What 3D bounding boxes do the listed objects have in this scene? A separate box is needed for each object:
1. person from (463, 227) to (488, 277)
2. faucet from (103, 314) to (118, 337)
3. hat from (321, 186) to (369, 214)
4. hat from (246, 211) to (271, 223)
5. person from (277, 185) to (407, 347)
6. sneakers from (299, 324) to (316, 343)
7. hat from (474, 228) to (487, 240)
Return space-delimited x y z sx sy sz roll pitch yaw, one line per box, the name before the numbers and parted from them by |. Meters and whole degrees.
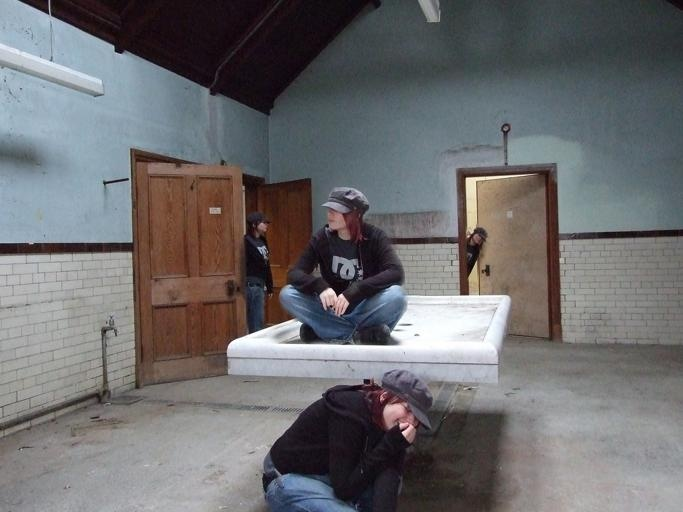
person | 2.064 -0.101 7.837 0.305 0.670 0.787 1 7 18
faucet | -2.380 0.730 5.360 0.090 0.242 0.188 1 7 18
hat | 0.044 -0.389 3.682 0.257 0.132 0.196 5 -1 -26
hat | -1.057 -0.472 6.486 0.245 0.139 0.179 -3 1 -5
person | 0.086 0.213 3.943 1.021 1.479 0.982 -4 -19 12
sneakers | -0.244 0.545 3.674 0.101 0.123 0.115 -8 30 -20
hat | 2.149 -0.335 7.860 0.261 0.216 0.126 -7 9 -40
